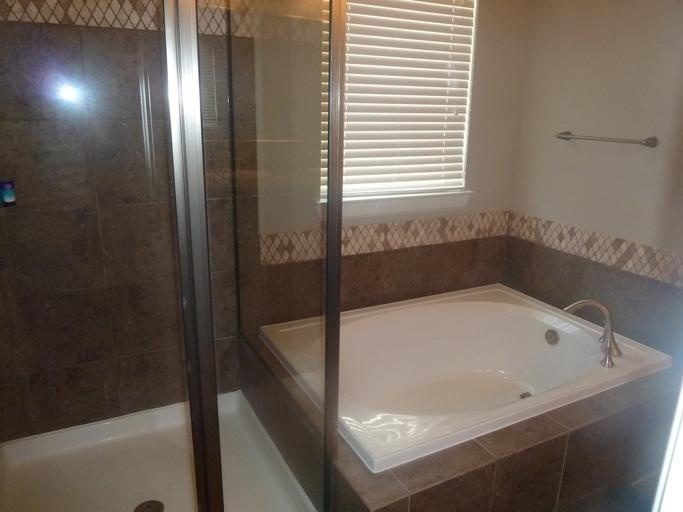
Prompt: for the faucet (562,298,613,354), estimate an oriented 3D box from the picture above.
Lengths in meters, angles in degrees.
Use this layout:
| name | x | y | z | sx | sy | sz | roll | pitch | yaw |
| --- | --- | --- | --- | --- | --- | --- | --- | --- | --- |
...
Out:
| name | x | y | z | sx | sy | sz | roll | pitch | yaw |
| --- | --- | --- | --- | --- | --- | --- | --- | --- | --- |
| faucet | 1.207 | 0.319 | 2.546 | 0.238 | 0.322 | 0.130 | -6 | 39 | 27 |
